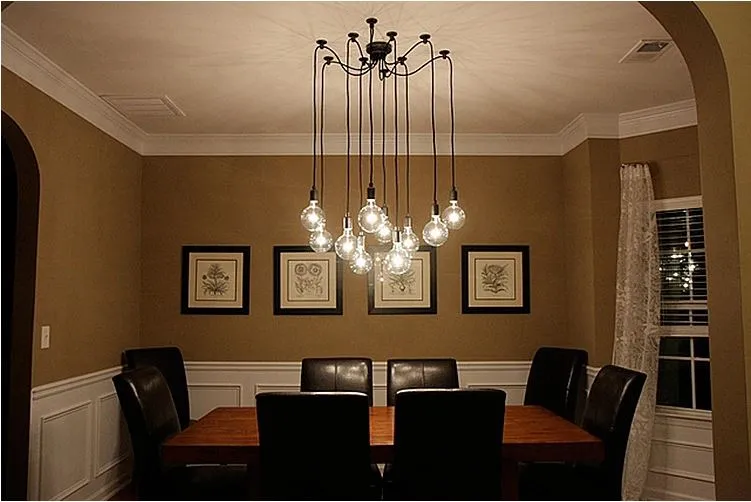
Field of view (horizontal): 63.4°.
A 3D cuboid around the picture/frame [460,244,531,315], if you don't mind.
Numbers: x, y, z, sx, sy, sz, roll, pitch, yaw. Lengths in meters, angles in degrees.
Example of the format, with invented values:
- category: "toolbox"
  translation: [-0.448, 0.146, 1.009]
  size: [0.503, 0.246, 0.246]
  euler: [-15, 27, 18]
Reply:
- category: "picture/frame"
  translation: [1.199, 0.313, 6.068]
  size: [0.625, 0.671, 0.045]
  euler: [0, -4, -2]

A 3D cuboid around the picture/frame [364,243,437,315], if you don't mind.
- category: "picture/frame"
  translation: [0.262, 0.283, 6.112]
  size: [0.742, 0.758, 0.059]
  euler: [-2, -8, 17]

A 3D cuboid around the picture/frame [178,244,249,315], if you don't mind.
- category: "picture/frame"
  translation: [-1.626, 0.313, 6.043]
  size: [0.625, 0.681, 0.045]
  euler: [0, 0, 1]

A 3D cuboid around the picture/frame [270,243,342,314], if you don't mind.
- category: "picture/frame"
  translation: [-0.699, 0.298, 5.966]
  size: [0.654, 0.704, 0.044]
  euler: [0, -3, -3]

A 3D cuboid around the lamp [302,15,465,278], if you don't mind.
- category: "lamp"
  translation: [0.041, -0.794, 5.069]
  size: [1.281, 2.025, 1.329]
  euler: [-2, -4, 24]
